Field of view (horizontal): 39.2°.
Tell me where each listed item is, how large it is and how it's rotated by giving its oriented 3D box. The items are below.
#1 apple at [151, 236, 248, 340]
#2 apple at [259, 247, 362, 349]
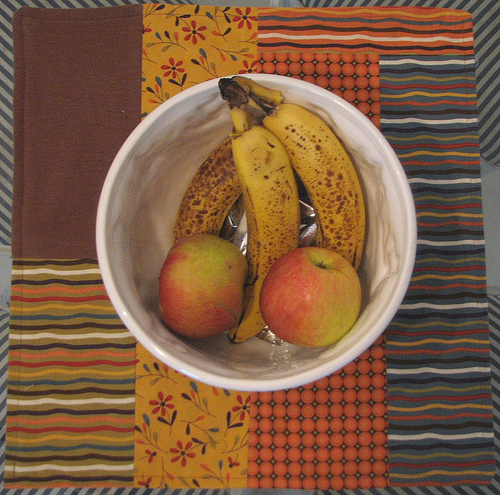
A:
[{"bbox_3d":[-0.058,0.043,0.789,0.107,0.113,0.086,0,-7,1],"label":"apple"},{"bbox_3d":[0.062,0.051,0.795,0.125,0.095,0.113,11,32,26],"label":"apple"}]
